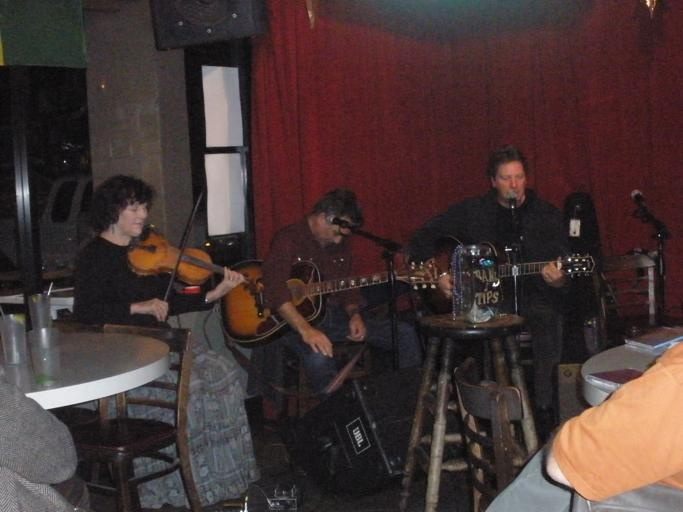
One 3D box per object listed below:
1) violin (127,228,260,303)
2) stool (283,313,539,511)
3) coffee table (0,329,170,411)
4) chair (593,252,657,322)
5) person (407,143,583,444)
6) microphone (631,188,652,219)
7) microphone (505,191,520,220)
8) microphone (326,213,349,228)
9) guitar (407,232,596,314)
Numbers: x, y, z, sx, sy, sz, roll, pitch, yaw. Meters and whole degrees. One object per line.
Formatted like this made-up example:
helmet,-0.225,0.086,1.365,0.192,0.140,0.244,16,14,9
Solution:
violin,-0.829,0.030,3.551,0.514,0.219,0.078,26,-23,-36
stool,0.376,0.645,3.156,0.759,1.247,0.730,-3,5,-38
coffee table,-0.995,0.411,2.680,0.603,0.195,0.704,-2,-3,-21
chair,1.778,0.200,4.143,0.389,0.453,0.194,-2,-2,-38
person,0.921,0.202,4.107,0.869,1.673,0.699,1,14,23
microphone,1.996,-0.341,4.531,0.137,0.256,0.084,-4,11,22
microphone,0.986,-0.287,3.907,0.064,0.154,0.128,-4,-2,18
microphone,-0.021,-0.186,3.664,0.119,0.035,0.086,11,-5,-37
guitar,0.851,0.077,3.446,0.998,0.415,1.277,-3,-2,0
